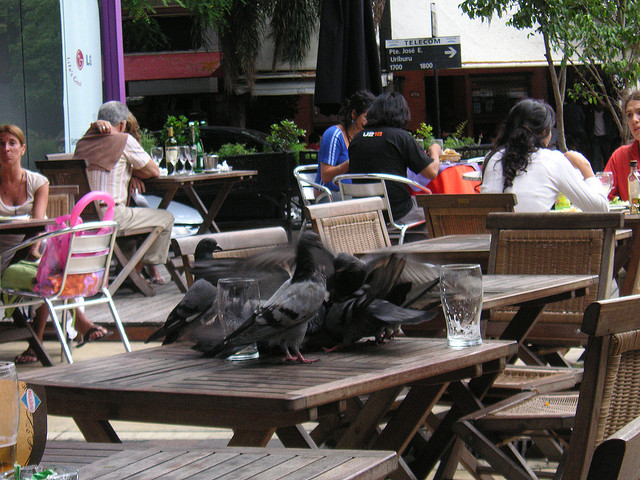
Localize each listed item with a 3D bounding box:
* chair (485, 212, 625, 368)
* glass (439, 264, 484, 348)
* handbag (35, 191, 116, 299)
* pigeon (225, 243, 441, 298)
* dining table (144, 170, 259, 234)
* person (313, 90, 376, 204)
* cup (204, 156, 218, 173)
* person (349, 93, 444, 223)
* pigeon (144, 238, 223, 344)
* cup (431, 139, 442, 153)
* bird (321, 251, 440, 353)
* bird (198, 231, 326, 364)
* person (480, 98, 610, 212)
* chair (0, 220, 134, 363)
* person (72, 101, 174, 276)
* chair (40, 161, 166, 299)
[{"bbox_3d":[1.246,0.248,4.930,0.651,1.086,0.749,0,0,26],"label":"chair"},{"bbox_3d":[0.507,0.226,3.440,0.141,0.292,0.160,-3,8,13],"label":"glass"},{"bbox_3d":[-1.465,-0.008,5.739,0.410,0.722,0.442,5,9,-16],"label":"handbag"},{"bbox_3d":[0.054,0.025,3.212,0.444,0.232,0.426,8,12,34],"label":"pigeon"},{"bbox_3d":[-1.033,-0.433,9.071,0.584,0.537,0.593,17,3,-36],"label":"dining table"},{"bbox_3d":[0.154,-0.833,8.396,0.467,1.181,0.481,12,16,36],"label":"person"},{"bbox_3d":[-1.030,-0.697,9.051,0.131,0.150,0.144,0,-2,0],"label":"cup"},{"bbox_3d":[0.622,-0.506,7.879,0.661,1.364,0.692,1,-6,-1],"label":"person"},{"bbox_3d":[-0.481,0.206,3.477,0.209,0.432,0.230,7,13,32],"label":"pigeon"},{"bbox_3d":[1.149,-0.922,9.516,0.136,0.107,0.153,2,4,17],"label":"cup"},{"bbox_3d":[0.190,0.226,3.187,0.391,0.350,0.154,-1,10,7],"label":"bird"},{"bbox_3d":[-0.158,0.211,3.151,0.454,0.395,0.145,-6,1,-24],"label":"bird"},{"bbox_3d":[1.324,-0.508,5.699,0.734,0.635,0.530,1,10,14],"label":"person"},{"bbox_3d":[-1.662,0.356,6.118,0.562,0.960,0.641,-13,25,-38],"label":"chair"},{"bbox_3d":[-1.683,-0.453,8.143,0.717,1.562,0.603,0,1,-24],"label":"person"},{"bbox_3d":[-1.864,-0.096,8.020,1.058,1.493,0.918,-5,8,-36],"label":"chair"}]
